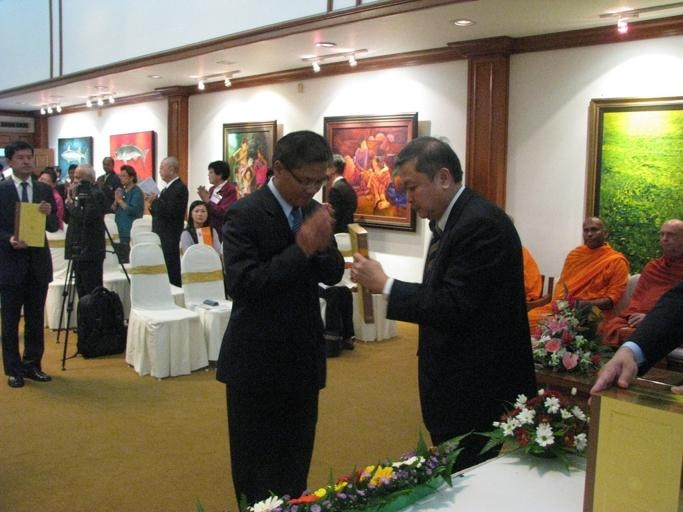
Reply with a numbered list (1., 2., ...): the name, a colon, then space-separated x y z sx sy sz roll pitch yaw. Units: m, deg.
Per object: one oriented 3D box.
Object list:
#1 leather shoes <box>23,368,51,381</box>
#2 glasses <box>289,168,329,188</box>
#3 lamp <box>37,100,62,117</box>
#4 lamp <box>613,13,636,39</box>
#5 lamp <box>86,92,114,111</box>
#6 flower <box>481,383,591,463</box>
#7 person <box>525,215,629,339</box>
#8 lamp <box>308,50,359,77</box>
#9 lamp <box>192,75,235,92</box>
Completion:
1. leather shoes: -2.844 1.123 4.922 0.280 0.114 0.108 2 3 1
2. glasses: -0.131 -0.293 2.046 0.081 0.026 0.082 -3 34 -36
3. lamp: -7.736 -3.939 13.837 0.215 0.275 0.561 -17 17 2
4. lamp: 2.901 -2.398 5.393 0.189 0.274 0.077 -10 22 -39
5. lamp: -5.696 -3.604 12.335 0.634 0.298 2.790 -3 9 -26
6. flower: 0.743 0.628 1.925 0.293 0.159 0.311 -16 3 4
7. person: 2.316 0.234 5.250 0.945 1.255 0.809 7 -3 0
8. lamp: -0.124 -2.815 7.659 0.713 0.245 1.266 1 8 1
9. lamp: -2.330 -3.141 9.567 0.605 0.197 1.494 -1 8 -16
